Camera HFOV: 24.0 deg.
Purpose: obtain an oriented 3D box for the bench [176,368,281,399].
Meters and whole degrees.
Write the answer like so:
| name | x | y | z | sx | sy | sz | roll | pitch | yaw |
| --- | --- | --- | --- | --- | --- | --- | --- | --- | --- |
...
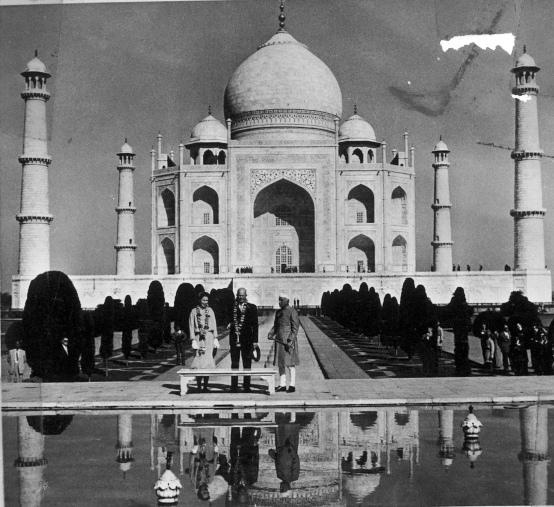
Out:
| name | x | y | z | sx | sy | sz | roll | pitch | yaw |
| --- | --- | --- | --- | --- | --- | --- | --- | --- | --- |
| bench | -0.688 | 1.800 | 18.165 | 1.328 | 0.384 | 1.560 | -1 | -5 | -3 |

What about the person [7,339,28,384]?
| name | x | y | z | sx | sy | sz | roll | pitch | yaw |
| --- | --- | --- | --- | --- | --- | --- | --- | --- | --- |
| person | -3.736 | 1.583 | 18.861 | 0.277 | 0.567 | 1.277 | 0 | -5 | -11 |

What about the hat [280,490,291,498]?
| name | x | y | z | sx | sy | sz | roll | pitch | yaw |
| --- | --- | --- | --- | --- | --- | --- | --- | --- | --- |
| hat | 0.090 | 2.613 | 14.086 | 0.135 | 0.085 | 0.162 | -1 | -5 | 0 |

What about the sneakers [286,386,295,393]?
| name | x | y | z | sx | sy | sz | roll | pitch | yaw |
| --- | --- | --- | --- | --- | --- | --- | --- | --- | --- |
| sneakers | 0.199 | 1.878 | 17.860 | 0.121 | 0.088 | 0.351 | -1 | -5 | 0 |
